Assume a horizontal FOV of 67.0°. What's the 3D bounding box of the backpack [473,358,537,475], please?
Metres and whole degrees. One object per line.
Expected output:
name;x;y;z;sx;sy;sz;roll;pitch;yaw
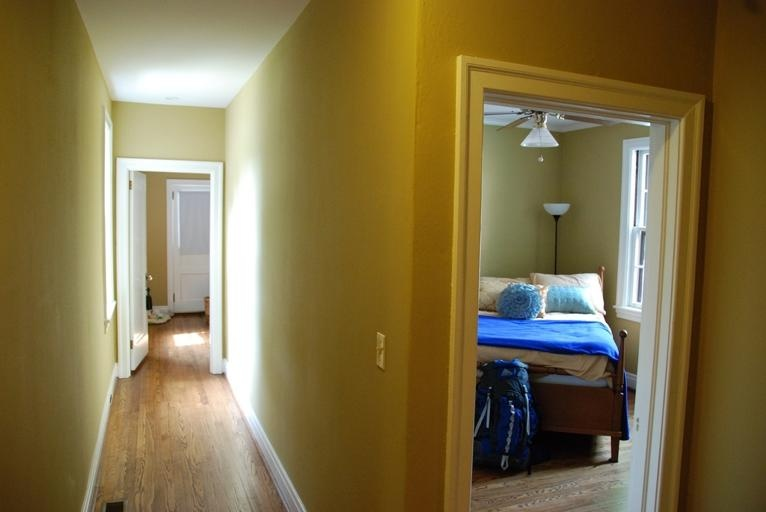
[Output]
backpack;0.970;1.247;4.502;0.477;0.799;0.348;3;8;15

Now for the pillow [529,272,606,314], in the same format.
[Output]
pillow;1.954;0.431;6.284;0.617;0.187;0.698;-4;44;-1

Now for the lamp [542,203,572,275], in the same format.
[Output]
lamp;2.103;-0.197;7.005;0.304;0.878;0.440;4;8;18

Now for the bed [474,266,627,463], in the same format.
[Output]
bed;1.601;0.891;5.401;1.114;1.068;1.910;-1;1;15
